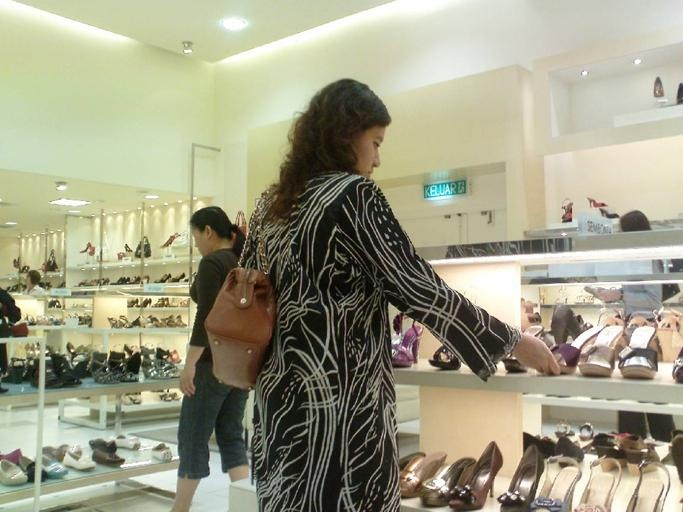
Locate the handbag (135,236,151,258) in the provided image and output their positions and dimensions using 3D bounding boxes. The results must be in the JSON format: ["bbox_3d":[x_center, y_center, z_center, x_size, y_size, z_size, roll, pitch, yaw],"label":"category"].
[{"bbox_3d":[-3.288,-0.147,8.635,0.229,0.356,0.446,-4,6,-26],"label":"handbag"}]

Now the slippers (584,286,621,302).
[{"bbox_3d":[1.185,0.168,2.355,0.156,0.059,0.043,12,0,3],"label":"slippers"}]

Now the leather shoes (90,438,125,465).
[{"bbox_3d":[-1.688,1.408,3.753,0.116,0.150,0.356,8,-14,-36],"label":"leather shoes"}]

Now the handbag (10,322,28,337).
[{"bbox_3d":[-2.243,0.515,3.637,0.087,0.119,0.117,4,-19,-37],"label":"handbag"}]

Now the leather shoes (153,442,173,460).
[{"bbox_3d":[-1.352,1.484,3.921,0.151,0.092,0.178,-4,6,-20],"label":"leather shoes"}]

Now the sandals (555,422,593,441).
[{"bbox_3d":[1.111,0.838,2.506,0.163,0.076,0.100,0,-7,1],"label":"sandals"}]

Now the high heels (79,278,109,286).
[{"bbox_3d":[-4.568,0.482,9.648,0.431,0.188,0.139,3,2,14],"label":"high heels"}]

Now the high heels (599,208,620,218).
[{"bbox_3d":[1.922,-0.306,3.746,0.113,0.075,0.395,1,6,25],"label":"high heels"}]

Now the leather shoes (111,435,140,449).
[{"bbox_3d":[-1.699,1.457,4.114,0.278,0.092,0.106,5,-7,32],"label":"leather shoes"}]

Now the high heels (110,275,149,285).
[{"bbox_3d":[-3.631,0.415,8.975,0.451,0.132,0.158,-2,-7,33],"label":"high heels"}]

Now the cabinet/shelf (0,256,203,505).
[{"bbox_3d":[-2.105,1.090,4.729,0.956,1.283,1.740,-1,-5,43],"label":"cabinet/shelf"}]

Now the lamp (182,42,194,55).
[{"bbox_3d":[-1.973,-2.676,6.676,0.105,0.083,0.109,1,-2,-9],"label":"lamp"}]

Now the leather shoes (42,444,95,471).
[{"bbox_3d":[-1.906,1.403,3.636,0.422,0.136,0.158,7,-7,34],"label":"leather shoes"}]
